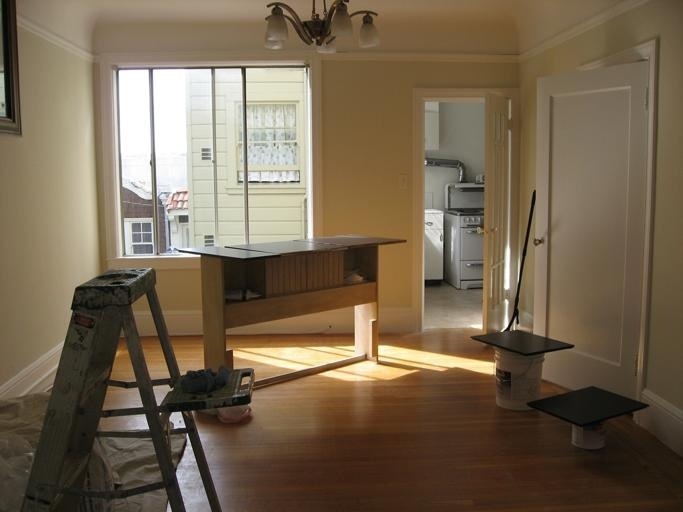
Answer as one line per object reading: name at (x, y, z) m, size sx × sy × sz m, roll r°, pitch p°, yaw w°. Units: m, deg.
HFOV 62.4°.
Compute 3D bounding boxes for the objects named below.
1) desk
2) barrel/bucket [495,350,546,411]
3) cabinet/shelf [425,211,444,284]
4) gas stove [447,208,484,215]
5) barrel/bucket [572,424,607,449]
desk at (-0.335, 0.472, 4.796) m, size 1.760 × 1.141 × 0.776 m, roll -6°, pitch 9°, yaw -39°
barrel/bucket at (1.334, 0.880, 4.308) m, size 0.373 × 0.442 × 0.373 m, roll -1°, pitch 6°, yaw 0°
cabinet/shelf at (1.344, -0.144, 8.221) m, size 0.255 × 1.091 × 0.178 m, roll 0°, pitch 12°, yaw 3°
gas stove at (1.781, -0.650, 8.165) m, size 0.523 × 0.047 × 0.731 m, roll 2°, pitch 12°, yaw 10°
barrel/bucket at (1.610, 1.172, 3.676) m, size 0.176 × 0.111 × 0.173 m, roll -1°, pitch 3°, yaw 0°
